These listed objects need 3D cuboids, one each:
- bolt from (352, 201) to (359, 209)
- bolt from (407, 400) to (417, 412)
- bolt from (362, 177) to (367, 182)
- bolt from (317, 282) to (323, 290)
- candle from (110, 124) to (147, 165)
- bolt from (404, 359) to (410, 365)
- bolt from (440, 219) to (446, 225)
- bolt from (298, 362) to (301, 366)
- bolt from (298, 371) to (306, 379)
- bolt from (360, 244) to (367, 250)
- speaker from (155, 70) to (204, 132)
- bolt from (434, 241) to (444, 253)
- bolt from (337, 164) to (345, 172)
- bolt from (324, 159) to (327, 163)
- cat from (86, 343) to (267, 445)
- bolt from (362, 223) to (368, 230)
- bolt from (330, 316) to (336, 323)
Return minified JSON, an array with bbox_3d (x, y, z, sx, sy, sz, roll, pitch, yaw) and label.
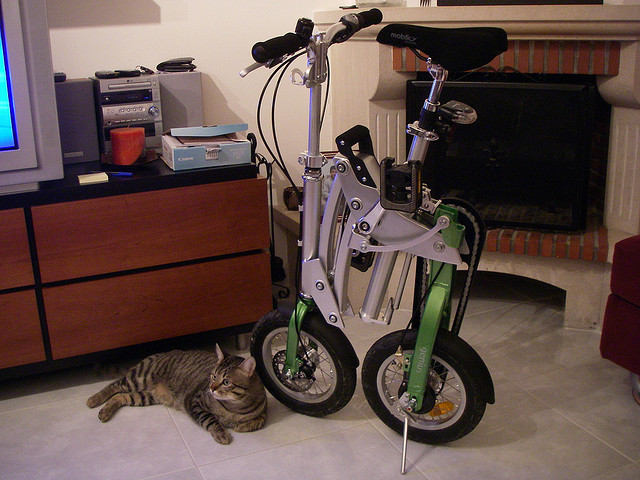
[{"bbox_3d":[0.128,-0.126,1.808,0.022,0.027,0.006,-1,22,3],"label":"bolt"},{"bbox_3d":[0.340,0.607,1.861,0.029,0.039,0.012,23,12,19],"label":"bolt"},{"bbox_3d":[0.157,-0.215,1.777,0.015,0.015,0.004,3,8,7],"label":"bolt"},{"bbox_3d":[0.001,0.176,1.934,0.021,0.021,0.007,2,4,17],"label":"bolt"},{"bbox_3d":[-0.852,-0.439,2.322,0.161,0.181,0.161,-18,32,-40],"label":"candle"},{"bbox_3d":[0.321,0.448,1.858,0.020,0.021,0.003,10,25,28],"label":"bolt"},{"bbox_3d":[0.415,-0.062,1.700,0.020,0.018,0.005,8,24,24],"label":"bolt"},{"bbox_3d":[-0.082,0.499,2.029,0.011,0.013,0.003,-8,22,-14],"label":"bolt"},{"bbox_3d":[-0.078,0.544,2.047,0.027,0.026,0.010,27,14,1],"label":"bolt"},{"bbox_3d":[0.157,0.025,1.824,0.018,0.018,0.012,5,2,40],"label":"bolt"},{"bbox_3d":[-0.703,-0.716,2.584,0.248,0.278,0.085,-15,25,-29],"label":"speaker"},{"bbox_3d":[0.409,0.023,1.737,0.034,0.034,0.009,18,20,18],"label":"bolt"},{"bbox_3d":[0.075,-0.254,1.780,0.023,0.023,0.008,4,5,14],"label":"bolt"},{"bbox_3d":[0.021,-0.299,1.909,0.016,0.015,0.028,2,-2,2],"label":"bolt"},{"bbox_3d":[-0.593,0.607,2.205,0.738,0.339,0.386,16,31,21],"label":"cat"},{"bbox_3d":[0.161,-0.050,1.799,0.020,0.021,0.005,13,11,11],"label":"bolt"},{"bbox_3d":[0.050,0.306,1.952,0.022,0.027,0.003,2,22,9],"label":"bolt"}]
